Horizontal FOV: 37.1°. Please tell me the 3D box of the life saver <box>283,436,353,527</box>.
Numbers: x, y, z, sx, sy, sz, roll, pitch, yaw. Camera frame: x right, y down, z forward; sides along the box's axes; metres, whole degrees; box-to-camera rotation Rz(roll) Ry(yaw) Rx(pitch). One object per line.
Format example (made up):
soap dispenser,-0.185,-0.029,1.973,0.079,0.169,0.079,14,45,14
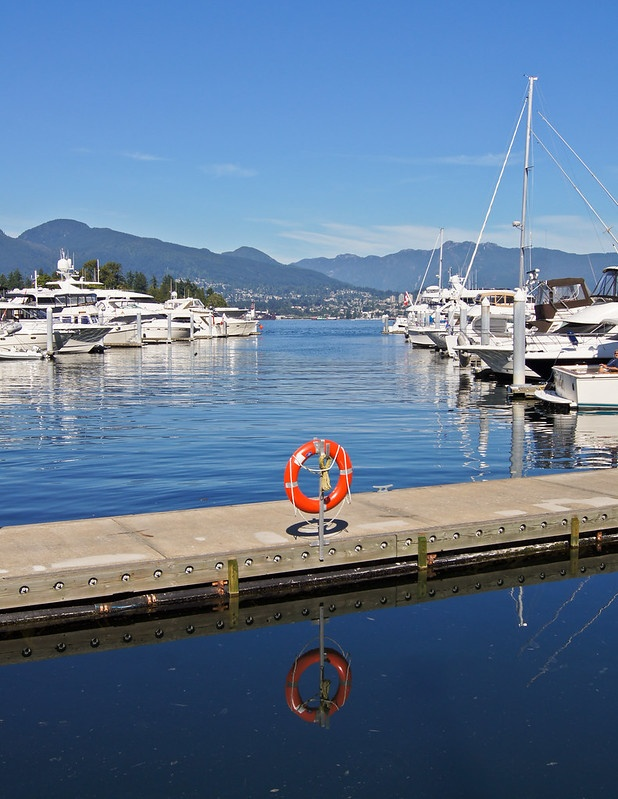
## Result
life saver,0.008,0.806,9.702,0.882,0.923,0.260,-13,20,-33
